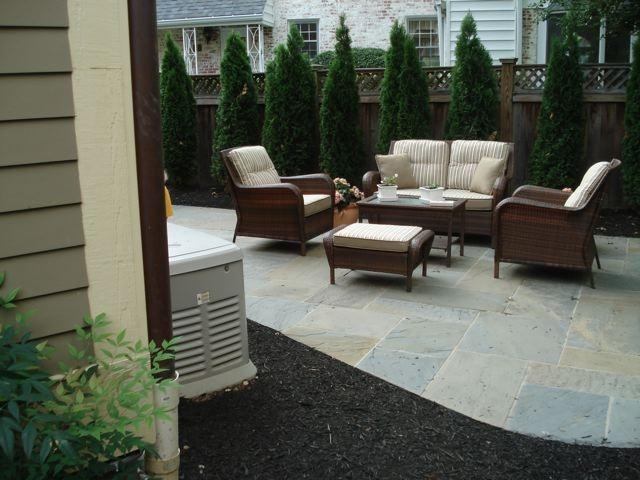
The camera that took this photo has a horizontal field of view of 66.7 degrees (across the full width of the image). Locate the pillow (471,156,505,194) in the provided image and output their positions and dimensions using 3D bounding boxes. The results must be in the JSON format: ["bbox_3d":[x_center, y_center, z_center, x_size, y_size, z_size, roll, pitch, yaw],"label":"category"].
[{"bbox_3d":[2.044,-0.806,6.023,0.282,0.433,0.483,-12,16,-16],"label":"pillow"}]

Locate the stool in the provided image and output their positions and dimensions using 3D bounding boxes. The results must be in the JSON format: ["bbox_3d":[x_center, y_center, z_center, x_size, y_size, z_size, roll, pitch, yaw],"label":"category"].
[{"bbox_3d":[0.578,0.122,4.706,0.960,0.502,0.682,3,14,22],"label":"stool"}]

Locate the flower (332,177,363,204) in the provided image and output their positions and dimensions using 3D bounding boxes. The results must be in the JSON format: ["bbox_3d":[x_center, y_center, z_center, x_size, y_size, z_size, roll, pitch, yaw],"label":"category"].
[{"bbox_3d":[0.348,-0.652,6.397,0.357,0.257,0.372,4,9,24],"label":"flower"}]

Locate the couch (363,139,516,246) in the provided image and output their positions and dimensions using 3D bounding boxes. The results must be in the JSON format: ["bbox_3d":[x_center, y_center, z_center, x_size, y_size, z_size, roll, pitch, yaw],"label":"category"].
[{"bbox_3d":[1.546,-0.651,6.279,1.710,1.234,0.969,5,14,26],"label":"couch"}]

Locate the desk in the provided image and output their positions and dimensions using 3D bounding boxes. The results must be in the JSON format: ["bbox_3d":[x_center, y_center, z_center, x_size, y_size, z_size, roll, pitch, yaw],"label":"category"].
[{"bbox_3d":[1.119,-0.312,5.530,1.198,0.681,0.825,5,18,25],"label":"desk"}]

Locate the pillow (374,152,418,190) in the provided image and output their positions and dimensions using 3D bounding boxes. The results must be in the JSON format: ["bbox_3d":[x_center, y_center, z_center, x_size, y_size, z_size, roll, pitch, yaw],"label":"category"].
[{"bbox_3d":[1.011,-0.937,6.399,0.476,0.466,0.143,0,-18,-24],"label":"pillow"}]

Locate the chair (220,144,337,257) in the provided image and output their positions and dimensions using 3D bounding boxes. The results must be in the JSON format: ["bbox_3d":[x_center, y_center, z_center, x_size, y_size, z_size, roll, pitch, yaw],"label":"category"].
[{"bbox_3d":[-0.496,-0.501,6.235,1.226,1.381,1.333,2,10,19],"label":"chair"}]

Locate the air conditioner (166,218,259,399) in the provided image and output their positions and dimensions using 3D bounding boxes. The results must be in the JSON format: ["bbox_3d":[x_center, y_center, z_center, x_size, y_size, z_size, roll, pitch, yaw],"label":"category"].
[{"bbox_3d":[-0.616,0.425,3.186,0.736,0.877,1.195,-5,11,-23],"label":"air conditioner"}]

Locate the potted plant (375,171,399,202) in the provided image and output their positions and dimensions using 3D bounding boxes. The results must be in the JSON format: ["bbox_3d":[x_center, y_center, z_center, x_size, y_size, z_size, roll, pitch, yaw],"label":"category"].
[{"bbox_3d":[0.758,-0.590,5.556,0.252,0.394,0.405,1,9,5],"label":"potted plant"}]

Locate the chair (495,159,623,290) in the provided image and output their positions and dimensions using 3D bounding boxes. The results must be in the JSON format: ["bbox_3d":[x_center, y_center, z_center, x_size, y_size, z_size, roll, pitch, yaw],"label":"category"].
[{"bbox_3d":[2.123,-0.158,4.501,0.916,1.092,0.450,8,17,30],"label":"chair"}]

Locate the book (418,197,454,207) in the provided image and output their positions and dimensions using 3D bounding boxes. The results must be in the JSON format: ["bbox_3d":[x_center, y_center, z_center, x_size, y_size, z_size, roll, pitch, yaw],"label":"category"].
[{"bbox_3d":[1.253,-0.416,5.248,0.367,0.039,0.334,3,15,13],"label":"book"}]

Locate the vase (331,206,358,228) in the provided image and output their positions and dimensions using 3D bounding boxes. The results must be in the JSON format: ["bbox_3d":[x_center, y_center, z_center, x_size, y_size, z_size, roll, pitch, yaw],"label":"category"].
[{"bbox_3d":[0.318,-0.320,6.422,0.311,0.232,0.296,0,7,7],"label":"vase"}]
